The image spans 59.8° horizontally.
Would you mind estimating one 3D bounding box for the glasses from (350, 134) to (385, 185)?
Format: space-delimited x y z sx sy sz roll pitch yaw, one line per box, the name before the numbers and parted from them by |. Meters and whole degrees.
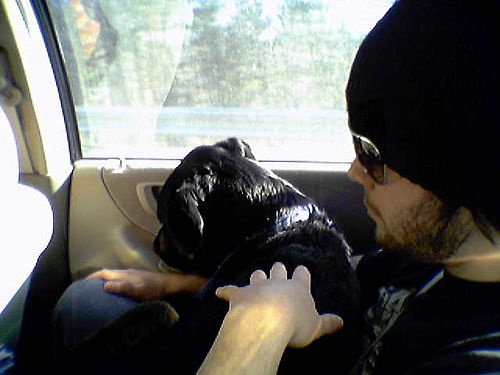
glasses | 0.391 -0.094 1.417 0.036 0.139 0.137 -24 32 7
